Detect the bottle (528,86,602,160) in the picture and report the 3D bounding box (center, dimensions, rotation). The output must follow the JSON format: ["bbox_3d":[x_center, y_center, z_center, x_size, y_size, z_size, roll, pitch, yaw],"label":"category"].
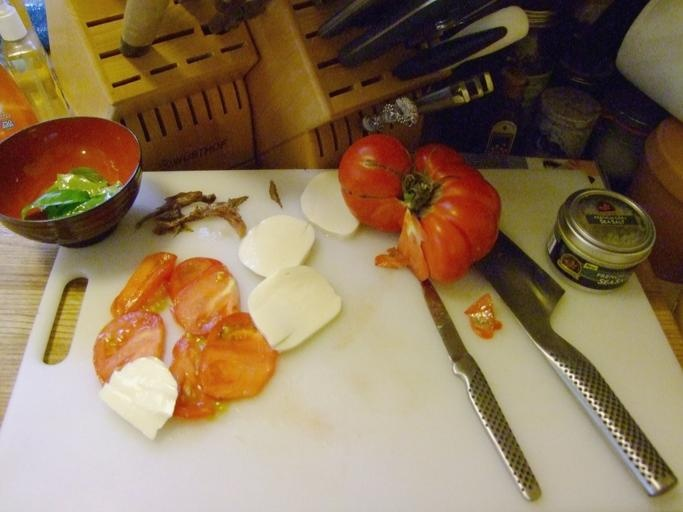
[{"bbox_3d":[0.471,-0.300,1.122,0.133,0.156,0.145,5,55,5],"label":"bottle"}]
